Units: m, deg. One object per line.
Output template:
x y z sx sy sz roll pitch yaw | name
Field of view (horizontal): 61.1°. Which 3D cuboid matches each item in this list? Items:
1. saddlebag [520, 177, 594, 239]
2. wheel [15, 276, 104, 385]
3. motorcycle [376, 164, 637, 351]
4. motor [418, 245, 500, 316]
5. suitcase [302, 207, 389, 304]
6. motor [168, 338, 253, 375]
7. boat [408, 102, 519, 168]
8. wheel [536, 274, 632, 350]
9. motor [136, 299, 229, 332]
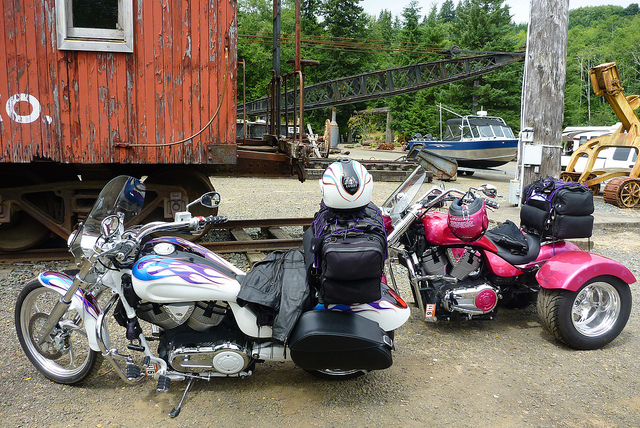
2.817 -0.086 6.468 0.620 0.713 0.771 0 12 -19 | saddlebag
-2.598 1.193 5.380 1.027 1.113 0.243 0 4 14 | wheel
2.020 0.597 6.781 3.434 1.991 1.548 4 -3 6 | motorcycle
1.585 0.725 6.155 0.777 0.829 0.346 -2 -10 -9 | motor
0.246 0.322 5.399 0.737 0.934 0.996 -2 16 -11 | suitcase
-1.058 1.391 5.205 0.817 0.345 0.123 -4 13 -1 | motor
6.510 -3.289 22.903 3.204 2.081 6.429 0 14 16 | boat
2.996 1.081 6.102 1.011 0.840 0.345 -6 14 -12 | wheel
-1.320 0.986 5.195 0.853 0.338 0.116 -4 14 -4 | motor
